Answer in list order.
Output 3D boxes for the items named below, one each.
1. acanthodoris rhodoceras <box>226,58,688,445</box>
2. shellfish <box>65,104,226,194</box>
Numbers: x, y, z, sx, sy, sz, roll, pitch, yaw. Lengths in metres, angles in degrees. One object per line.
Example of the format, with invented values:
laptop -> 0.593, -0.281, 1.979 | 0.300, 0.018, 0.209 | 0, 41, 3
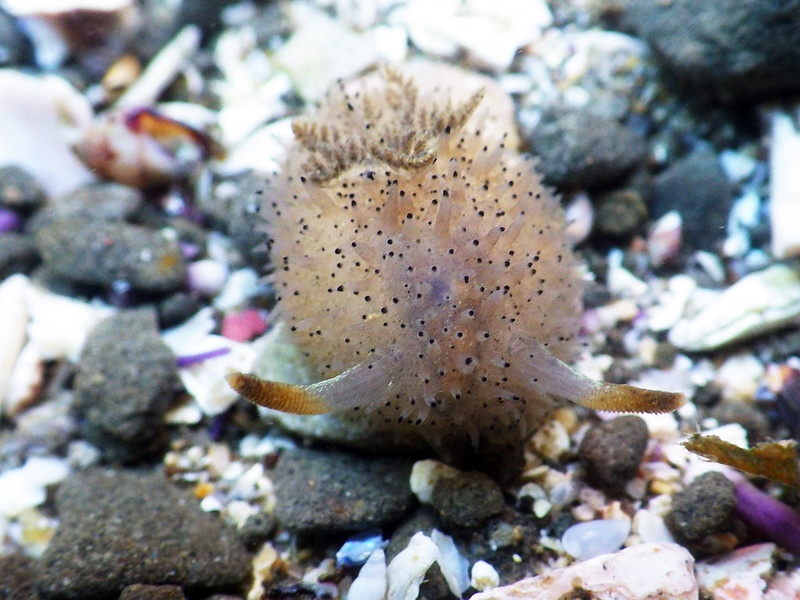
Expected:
acanthodoris rhodoceras -> 0.080, -0.174, 4.363 | 1.298, 0.530, 1.677 | -17, 84, -1
shellfish -> -1.175, -0.668, 4.766 | 0.532, 0.164, 0.351 | 15, 84, 2
